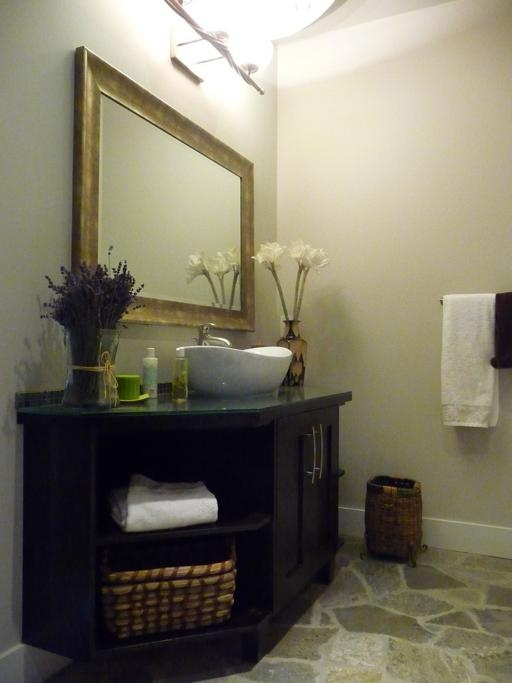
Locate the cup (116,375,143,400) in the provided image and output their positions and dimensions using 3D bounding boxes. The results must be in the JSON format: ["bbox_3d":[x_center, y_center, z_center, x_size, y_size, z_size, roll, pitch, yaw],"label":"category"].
[{"bbox_3d":[-0.348,0.125,1.547,0.053,0.072,0.058,-1,-3,1],"label":"cup"}]

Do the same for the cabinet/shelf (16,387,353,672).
[{"bbox_3d":[-0.151,0.474,1.700,0.558,0.728,0.992,6,6,41],"label":"cabinet/shelf"}]

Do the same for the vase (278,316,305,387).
[{"bbox_3d":[0.158,0.047,2.406,0.156,0.284,0.175,-7,13,-3],"label":"vase"}]

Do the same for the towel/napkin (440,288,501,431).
[{"bbox_3d":[0.871,0.062,2.341,0.237,0.614,0.064,7,27,34],"label":"towel/napkin"}]

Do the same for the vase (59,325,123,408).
[{"bbox_3d":[-0.399,0.073,1.375,0.155,0.241,0.151,5,-8,-36],"label":"vase"}]

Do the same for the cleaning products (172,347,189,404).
[{"bbox_3d":[-0.221,0.095,1.650,0.036,0.150,0.040,1,-5,-16],"label":"cleaning products"}]

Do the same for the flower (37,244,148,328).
[{"bbox_3d":[-0.422,-0.126,1.483,0.184,0.251,0.194,1,3,-16],"label":"flower"}]

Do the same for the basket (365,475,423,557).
[{"bbox_3d":[0.568,0.723,2.341,0.217,0.296,0.288,-1,-1,19],"label":"basket"}]

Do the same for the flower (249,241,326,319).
[{"bbox_3d":[0.163,-0.256,2.516,0.295,0.405,0.326,15,21,40],"label":"flower"}]

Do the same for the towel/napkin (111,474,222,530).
[{"bbox_3d":[-0.249,0.417,1.485,0.261,0.096,0.239,0,-2,-21],"label":"towel/napkin"}]

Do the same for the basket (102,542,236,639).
[{"bbox_3d":[-0.221,0.609,1.431,0.227,0.120,0.181,3,-13,-21],"label":"basket"}]
